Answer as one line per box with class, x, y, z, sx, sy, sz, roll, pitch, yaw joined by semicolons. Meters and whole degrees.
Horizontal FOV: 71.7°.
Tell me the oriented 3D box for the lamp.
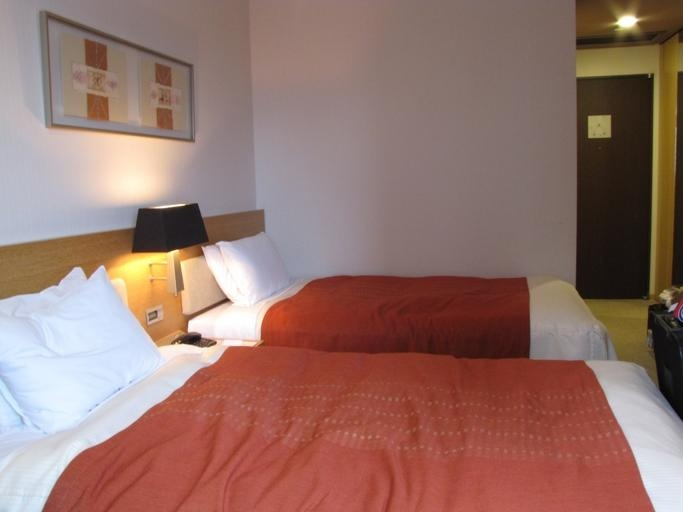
lamp;-1.075;-0.052;2.905;0.249;0.608;0.492;0;11;16
